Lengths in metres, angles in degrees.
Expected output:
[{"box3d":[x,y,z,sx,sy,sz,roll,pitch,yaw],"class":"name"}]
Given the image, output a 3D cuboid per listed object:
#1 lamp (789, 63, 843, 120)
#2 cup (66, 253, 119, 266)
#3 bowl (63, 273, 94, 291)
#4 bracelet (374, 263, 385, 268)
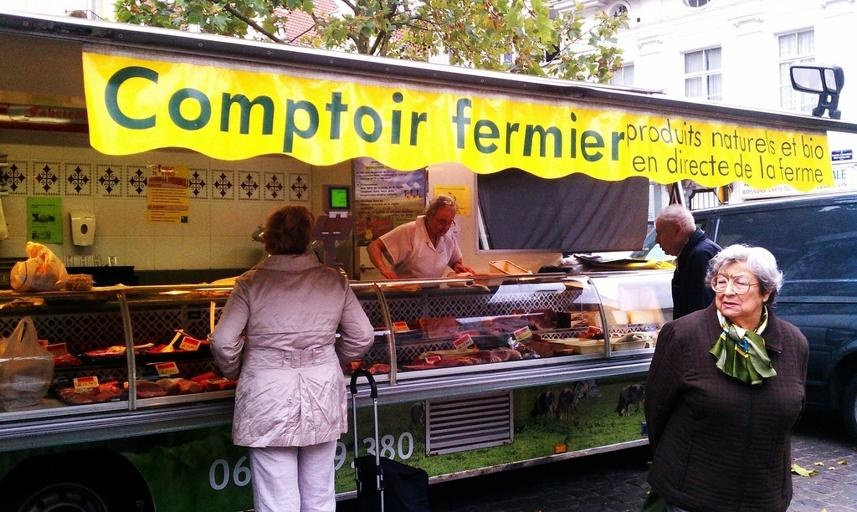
[{"box3d":[4.105,-1.755,6.508,0.462,0.642,0.550,2,7,30],"class":"lamp"},{"box3d":[-4.431,0.040,8.056,0.610,0.157,0.141,-5,7,-26],"class":"cup"},{"box3d":[-3.006,0.221,5.260,0.193,0.077,0.162,1,2,8],"class":"bowl"},{"box3d":[-0.547,0.105,6.809,0.078,0.047,0.070,0,0,-10],"class":"bracelet"}]
